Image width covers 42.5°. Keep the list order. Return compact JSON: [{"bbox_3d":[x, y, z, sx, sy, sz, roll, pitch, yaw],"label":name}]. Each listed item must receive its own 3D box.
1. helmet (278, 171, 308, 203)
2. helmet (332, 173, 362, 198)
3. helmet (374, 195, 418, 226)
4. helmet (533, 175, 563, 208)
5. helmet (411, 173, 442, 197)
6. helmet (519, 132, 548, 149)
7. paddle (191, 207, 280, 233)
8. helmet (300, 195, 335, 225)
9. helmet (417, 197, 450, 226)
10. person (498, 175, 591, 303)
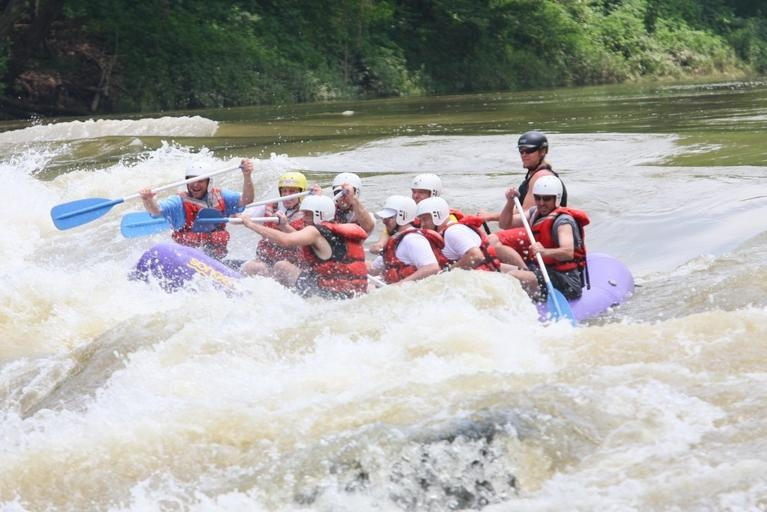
[{"bbox_3d":[-1.205,-0.964,13.331,0.332,0.313,0.363,0,-4,7],"label":"helmet"},{"bbox_3d":[-0.528,-0.976,13.506,0.335,0.337,0.392,-1,-4,8],"label":"helmet"},{"bbox_3d":[0.159,-0.582,12.467,0.514,0.258,0.307,5,7,-8],"label":"helmet"},{"bbox_3d":[2.042,-0.797,12.250,0.337,0.309,0.382,6,22,21],"label":"helmet"},{"bbox_3d":[0.603,-0.962,12.948,0.378,0.278,0.282,-21,28,-30],"label":"helmet"},{"bbox_3d":[1.972,-1.503,12.985,0.330,0.131,0.232,3,4,-7],"label":"helmet"},{"bbox_3d":[-1.897,-0.518,12.745,1.229,0.057,0.365,-2,49,16],"label":"paddle"},{"bbox_3d":[-0.821,-0.593,12.327,0.431,0.286,0.320,3,3,-3],"label":"helmet"},{"bbox_3d":[0.598,-0.542,12.289,0.427,0.285,0.305,-4,3,-4],"label":"helmet"},{"bbox_3d":[1.986,-0.047,12.474,1.252,1.813,1.109,1,8,-10],"label":"person"}]
